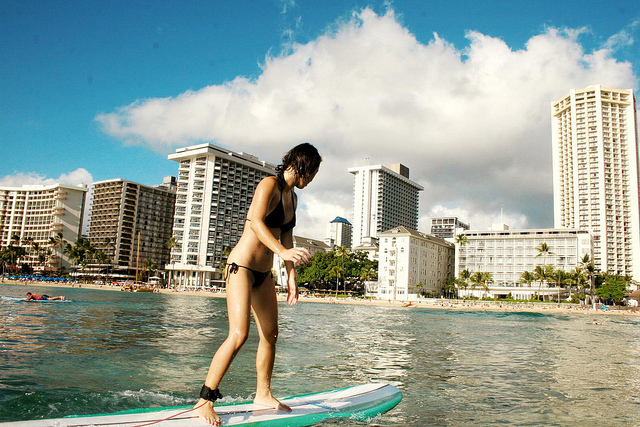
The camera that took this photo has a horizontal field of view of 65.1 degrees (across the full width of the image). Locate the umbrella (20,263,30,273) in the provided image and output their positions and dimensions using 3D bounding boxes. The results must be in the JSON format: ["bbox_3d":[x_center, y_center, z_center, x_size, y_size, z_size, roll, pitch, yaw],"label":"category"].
[{"bbox_3d":[-74.147,13.735,126.044,1.565,2.117,3.090,8,-10,-33],"label":"umbrella"}]

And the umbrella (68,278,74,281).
[{"bbox_3d":[-57.429,15.424,116.050,0.826,0.770,0.803,-3,-5,14],"label":"umbrella"}]

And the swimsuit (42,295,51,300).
[{"bbox_3d":[-19.997,6.112,36.405,0.776,0.332,0.572,-9,-12,33],"label":"swimsuit"}]

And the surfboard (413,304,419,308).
[{"bbox_3d":[14.647,14.291,76.469,0.845,0.193,0.807,-3,-2,-26],"label":"surfboard"}]
